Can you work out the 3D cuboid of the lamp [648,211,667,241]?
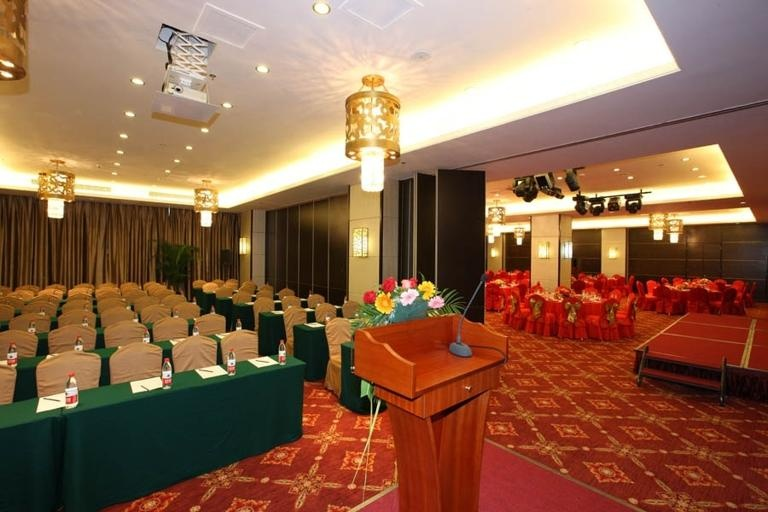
[{"bbox_3d":[8.246,-0.927,15.044,0.416,0.880,0.520,-5,-2,25],"label":"lamp"}]

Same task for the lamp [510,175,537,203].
[{"bbox_3d":[3.097,-1.493,10.876,0.508,0.539,0.823,-5,-2,19],"label":"lamp"}]

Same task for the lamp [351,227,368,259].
[{"bbox_3d":[-0.526,-0.313,11.105,0.290,0.869,0.601,4,-7,-31],"label":"lamp"}]

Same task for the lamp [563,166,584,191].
[{"bbox_3d":[4.112,-1.681,10.853,0.297,0.477,2.290,-5,-2,22],"label":"lamp"}]

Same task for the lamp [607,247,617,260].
[{"bbox_3d":[9.691,-0.143,21.092,0.427,0.470,0.133,-5,-2,30],"label":"lamp"}]

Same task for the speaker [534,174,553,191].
[{"bbox_3d":[3.419,-1.615,10.772,0.297,0.371,0.265,-27,8,-14],"label":"speaker"}]

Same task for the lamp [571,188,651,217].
[{"bbox_3d":[6.051,-1.427,13.414,1.644,0.679,1.970,-5,-2,25],"label":"lamp"}]

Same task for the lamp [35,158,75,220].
[{"bbox_3d":[-7.123,-1.420,10.875,0.618,1.252,1.424,-3,-2,-35],"label":"lamp"}]

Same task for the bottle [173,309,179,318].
[{"bbox_3d":[-3.868,1.062,9.288,0.080,0.152,0.152,5,5,30],"label":"bottle"}]
